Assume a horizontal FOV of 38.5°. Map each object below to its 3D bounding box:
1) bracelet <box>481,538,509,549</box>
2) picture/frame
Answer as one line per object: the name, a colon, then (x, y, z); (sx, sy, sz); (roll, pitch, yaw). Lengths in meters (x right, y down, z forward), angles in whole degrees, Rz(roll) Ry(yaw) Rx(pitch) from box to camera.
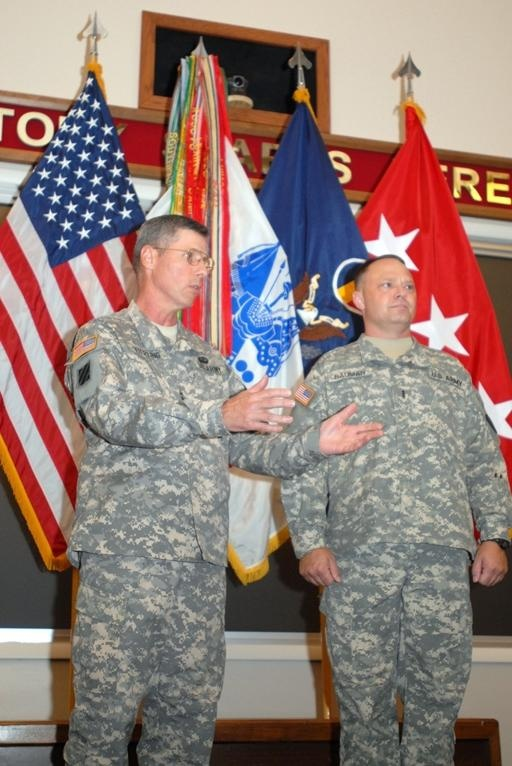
bracelet: (0.614, 0.413, 1.853); (0.046, 0.019, 0.036); (2, -3, -43)
picture/frame: (-0.081, -1.361, 3.220); (0.839, 0.460, 0.038); (8, 55, 0)
